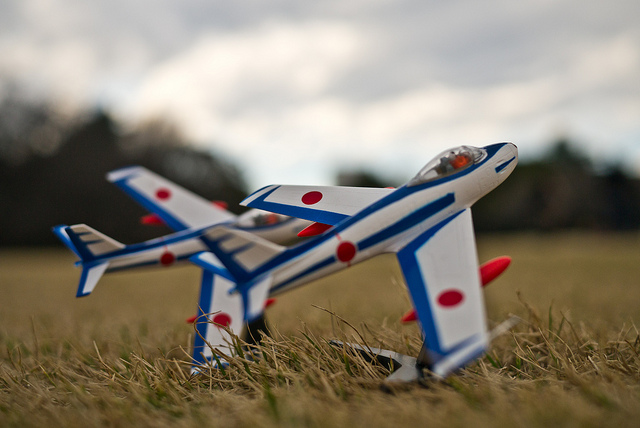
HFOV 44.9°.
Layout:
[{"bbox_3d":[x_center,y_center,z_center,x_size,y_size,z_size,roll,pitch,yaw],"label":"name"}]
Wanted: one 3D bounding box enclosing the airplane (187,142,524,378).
[{"bbox_3d":[0.600,0.501,9.048,3.264,2.481,1.079,-2,4,13],"label":"airplane"}]
